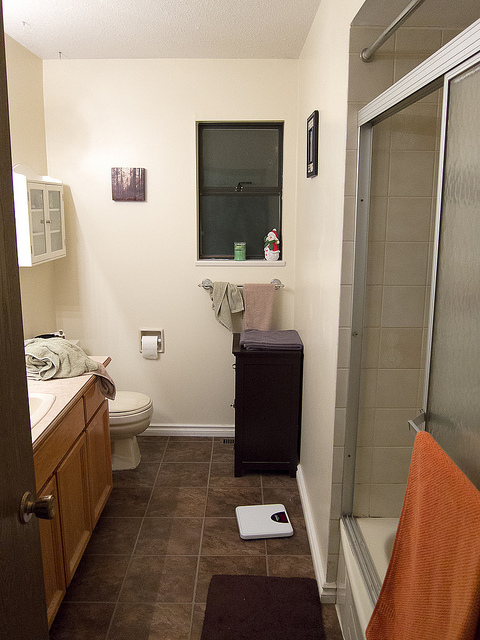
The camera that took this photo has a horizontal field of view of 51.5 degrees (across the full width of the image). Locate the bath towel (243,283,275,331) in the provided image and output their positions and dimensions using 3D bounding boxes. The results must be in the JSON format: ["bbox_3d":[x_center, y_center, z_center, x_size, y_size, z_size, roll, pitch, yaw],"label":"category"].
[{"bbox_3d":[0.129,-0.129,3.331,0.231,0.104,0.379,1,41,0],"label":"bath towel"}]

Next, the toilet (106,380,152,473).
[{"bbox_3d":[-0.691,0.671,3.123,0.427,0.413,0.414,-3,18,-13],"label":"toilet"}]

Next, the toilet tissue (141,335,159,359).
[{"bbox_3d":[-0.622,0.177,3.410,0.112,0.149,0.050,1,21,1],"label":"toilet tissue"}]

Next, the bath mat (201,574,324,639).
[{"bbox_3d":[0.090,1.122,1.949,0.448,0.017,0.367,1,10,5],"label":"bath mat"}]

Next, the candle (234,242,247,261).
[{"bbox_3d":[-0.002,-0.465,3.370,0.078,0.119,0.107,0,9,-1],"label":"candle"}]

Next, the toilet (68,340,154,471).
[{"bbox_3d":[-0.768,0.655,3.138,0.385,0.536,0.350,-1,12,-10],"label":"toilet"}]

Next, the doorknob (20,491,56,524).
[{"bbox_3d":[-0.358,0.314,0.887,0.041,0.076,0.062,-2,-2,-1],"label":"doorknob"}]
